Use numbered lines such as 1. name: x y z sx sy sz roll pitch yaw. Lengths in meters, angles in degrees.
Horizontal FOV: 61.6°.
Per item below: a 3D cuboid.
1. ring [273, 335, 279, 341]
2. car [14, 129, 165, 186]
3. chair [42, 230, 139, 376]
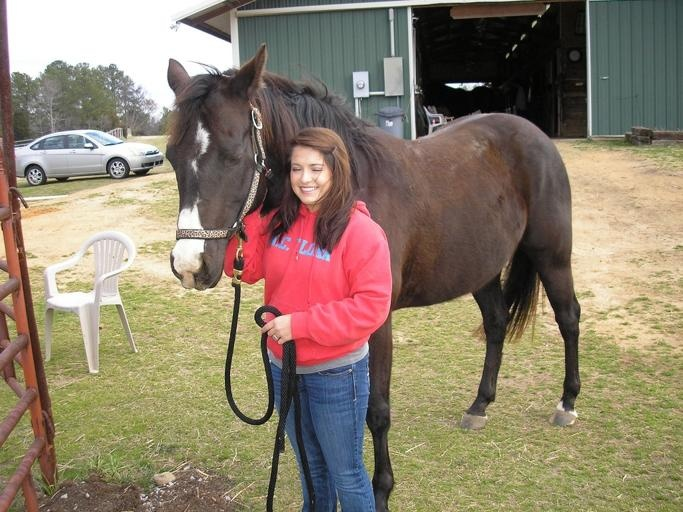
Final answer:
1. ring: -0.289 0.354 2.488 0.021 0.011 0.027 16 -4 13
2. car: -6.573 -2.542 14.700 3.407 1.305 0.764 0 13 8
3. chair: -2.209 0.357 4.996 0.693 1.152 0.830 2 1 27
